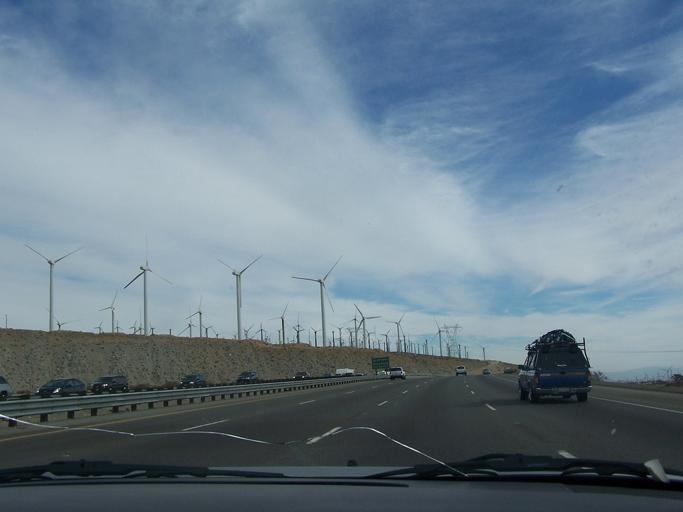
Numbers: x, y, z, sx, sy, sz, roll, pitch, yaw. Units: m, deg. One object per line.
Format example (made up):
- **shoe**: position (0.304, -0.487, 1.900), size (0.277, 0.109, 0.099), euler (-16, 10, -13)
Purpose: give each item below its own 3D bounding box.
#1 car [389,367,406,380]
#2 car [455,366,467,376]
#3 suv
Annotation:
- **car**: position (6.325, 13.698, 75.438), size (1.701, 1.196, 2.920), euler (-1, -3, 12)
- **car**: position (15.903, 15.800, 88.122), size (1.679, 1.214, 2.656), euler (-1, -3, 11)
- **suv**: position (8.315, 3.830, 25.531), size (2.469, 2.307, 4.345), euler (-5, 5, 14)
